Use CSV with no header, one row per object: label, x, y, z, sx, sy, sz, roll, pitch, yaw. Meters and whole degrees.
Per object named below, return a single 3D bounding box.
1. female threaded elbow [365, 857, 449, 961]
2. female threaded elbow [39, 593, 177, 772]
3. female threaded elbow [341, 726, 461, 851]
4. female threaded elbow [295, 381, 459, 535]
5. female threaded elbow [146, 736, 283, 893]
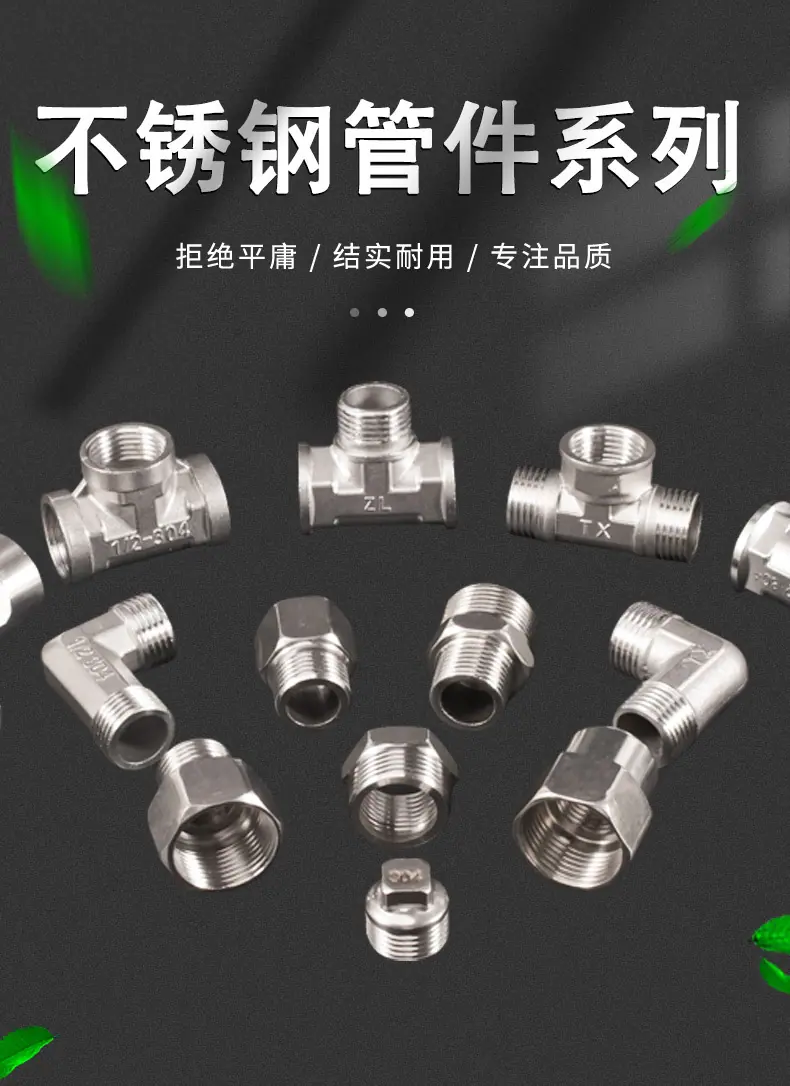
female threaded elbow,0.028,0.872,2.586,0.196,0.200,0.193,-11,28,-20
female threaded elbow,-0.816,0.378,3.041,0.366,0.226,0.575,-4,35,-13
female threaded elbow,-0.014,0.611,2.679,0.292,0.318,0.192,-30,44,34
female threaded elbow,-0.043,-0.299,3.684,0.603,0.524,0.316,-1,30,0
female threaded elbow,-0.472,0.729,2.718,0.241,0.215,0.249,-14,-9,14
